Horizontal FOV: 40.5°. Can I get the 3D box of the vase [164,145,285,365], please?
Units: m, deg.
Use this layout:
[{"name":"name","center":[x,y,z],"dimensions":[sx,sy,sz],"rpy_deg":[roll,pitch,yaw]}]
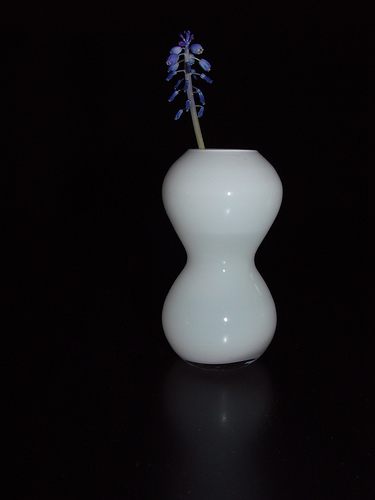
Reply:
[{"name":"vase","center":[0.043,0.010,1.095],"dimensions":[0.233,0.630,0.315],"rpy_deg":[1,5,-6]}]
